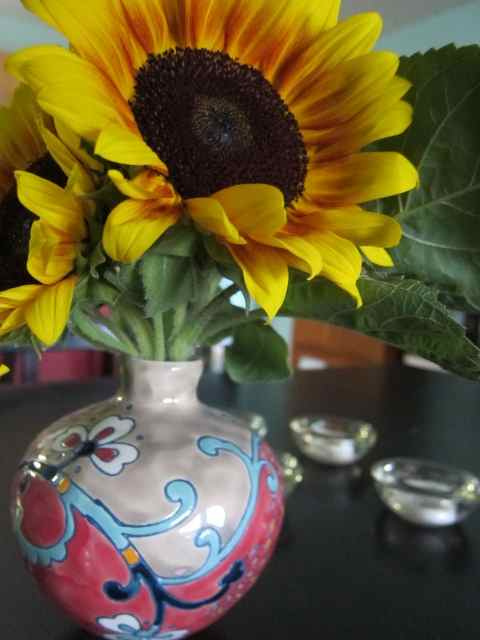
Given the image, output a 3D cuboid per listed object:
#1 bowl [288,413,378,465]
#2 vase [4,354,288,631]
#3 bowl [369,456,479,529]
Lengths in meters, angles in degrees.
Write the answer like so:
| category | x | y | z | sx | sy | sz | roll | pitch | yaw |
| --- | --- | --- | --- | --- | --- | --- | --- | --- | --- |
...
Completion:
| category | x | y | z | sx | sy | sz | roll | pitch | yaw |
| --- | --- | --- | --- | --- | --- | --- | --- | --- | --- |
| bowl | 0.095 | 0.120 | 0.669 | 0.090 | 0.046 | 0.074 | -4 | 34 | -12 |
| vase | -0.035 | 0.095 | 0.453 | 0.215 | 0.197 | 0.171 | 3 | -7 | -5 |
| bowl | 0.160 | 0.144 | 0.537 | 0.074 | 0.035 | 0.058 | 2 | -3 | -32 |
